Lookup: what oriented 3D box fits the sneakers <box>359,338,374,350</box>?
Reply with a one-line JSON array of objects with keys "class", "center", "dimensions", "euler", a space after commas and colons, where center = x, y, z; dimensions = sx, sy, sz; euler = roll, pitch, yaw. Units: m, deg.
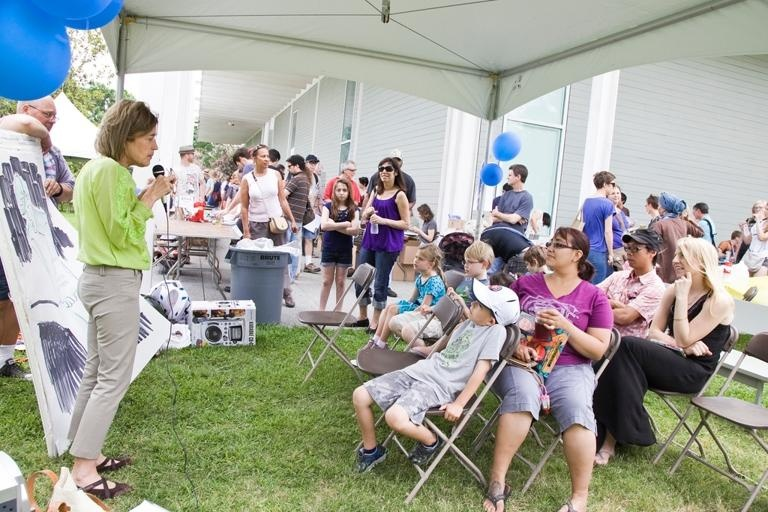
[{"class": "sneakers", "center": [-0.157, 0.978, 5.622], "dimensions": [0.092, 0.117, 0.283], "euler": [-3, -6, 41]}]

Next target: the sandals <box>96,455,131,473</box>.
[{"class": "sandals", "center": [-1.901, 1.485, 3.635], "dimensions": [0.191, 0.057, 0.072], "euler": [-4, 10, -39]}]

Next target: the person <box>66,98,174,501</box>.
[{"class": "person", "center": [-1.767, 0.282, 3.460], "dimensions": [0.642, 2.639, 0.488], "euler": [-2, 10, -33]}]

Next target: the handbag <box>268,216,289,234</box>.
[{"class": "handbag", "center": [-1.418, -0.400, 6.960], "dimensions": [0.271, 0.245, 0.187], "euler": [-4, 0, -33]}]

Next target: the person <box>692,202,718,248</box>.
[{"class": "person", "center": [5.760, -0.440, 9.286], "dimensions": [0.398, 0.388, 1.373], "euler": [-5, -41, 30]}]

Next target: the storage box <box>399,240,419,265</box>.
[{"class": "storage box", "center": [0.528, -0.041, 10.316], "dimensions": [0.443, 0.442, 0.435], "euler": [3, 1, 17]}]

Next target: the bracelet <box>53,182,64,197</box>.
[{"class": "bracelet", "center": [-2.909, -0.588, 4.629], "dimensions": [0.029, 0.100, 0.101], "euler": [11, -20, -4]}]

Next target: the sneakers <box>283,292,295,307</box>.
[{"class": "sneakers", "center": [-1.371, 0.654, 7.408], "dimensions": [0.109, 0.117, 0.275], "euler": [1, -6, -24]}]

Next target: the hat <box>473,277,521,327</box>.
[{"class": "hat", "center": [0.848, 0.350, 3.835], "dimensions": [0.389, 0.191, 0.259], "euler": [42, 33, -2]}]

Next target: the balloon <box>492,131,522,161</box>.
[{"class": "balloon", "center": [1.731, -1.551, 7.261], "dimensions": [0.351, 0.386, 0.306], "euler": [5, 8, 6]}]

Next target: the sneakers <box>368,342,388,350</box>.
[{"class": "sneakers", "center": [-0.070, 0.969, 5.483], "dimensions": [0.236, 0.100, 0.084], "euler": [9, -11, -29]}]

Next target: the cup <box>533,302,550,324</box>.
[{"class": "cup", "center": [1.197, 0.441, 3.879], "dimensions": [0.051, 0.148, 0.103], "euler": [11, -7, -37]}]

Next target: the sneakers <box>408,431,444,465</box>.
[{"class": "sneakers", "center": [0.303, 1.456, 3.816], "dimensions": [0.135, 0.312, 0.151], "euler": [41, -3, -42]}]

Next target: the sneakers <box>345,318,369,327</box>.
[{"class": "sneakers", "center": [-0.281, 0.770, 5.847], "dimensions": [0.300, 0.121, 0.107], "euler": [3, -6, -14]}]

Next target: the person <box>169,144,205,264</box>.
[{"class": "person", "center": [-3.516, -1.066, 9.281], "dimensions": [0.583, 1.917, 0.518], "euler": [1, 44, -14]}]

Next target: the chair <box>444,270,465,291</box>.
[{"class": "chair", "center": [0.766, 0.256, 5.638], "dimensions": [0.188, 0.203, 0.342], "euler": [13, -1, -4]}]

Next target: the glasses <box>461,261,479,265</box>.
[{"class": "glasses", "center": [0.927, 0.083, 5.515], "dimensions": [0.088, 0.026, 0.083], "euler": [17, -15, -33]}]

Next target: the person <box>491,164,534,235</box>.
[{"class": "person", "center": [1.765, -0.787, 7.069], "dimensions": [0.520, 0.952, 0.673], "euler": [5, 8, 10]}]

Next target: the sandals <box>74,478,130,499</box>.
[{"class": "sandals", "center": [-1.839, 1.564, 3.418], "dimensions": [0.352, 0.108, 0.158], "euler": [7, 2, -13]}]

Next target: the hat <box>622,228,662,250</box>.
[{"class": "hat", "center": [2.276, -0.110, 4.551], "dimensions": [0.275, 0.151, 0.199], "euler": [27, 5, 4]}]

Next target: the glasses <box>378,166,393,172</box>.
[{"class": "glasses", "center": [0.014, -1.028, 6.117], "dimensions": [0.200, 0.068, 0.107], "euler": [9, 9, 34]}]

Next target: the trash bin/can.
[{"class": "trash bin/can", "center": [-1.552, 0.369, 6.647], "dimensions": [1.034, 1.026, 0.886], "euler": [1, -3, -12]}]

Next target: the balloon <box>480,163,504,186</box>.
[{"class": "balloon", "center": [1.561, -1.211, 7.553], "dimensions": [0.311, 0.319, 0.356], "euler": [-3, 19, 4]}]

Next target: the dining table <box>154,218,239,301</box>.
[{"class": "dining table", "center": [-2.838, 0.059, 7.717], "dimensions": [0.724, 0.651, 1.300], "euler": [2, 6, -10]}]

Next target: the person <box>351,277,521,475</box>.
[{"class": "person", "center": [0.392, 0.934, 3.974], "dimensions": [1.334, 1.226, 0.888], "euler": [-5, 2, -17]}]
